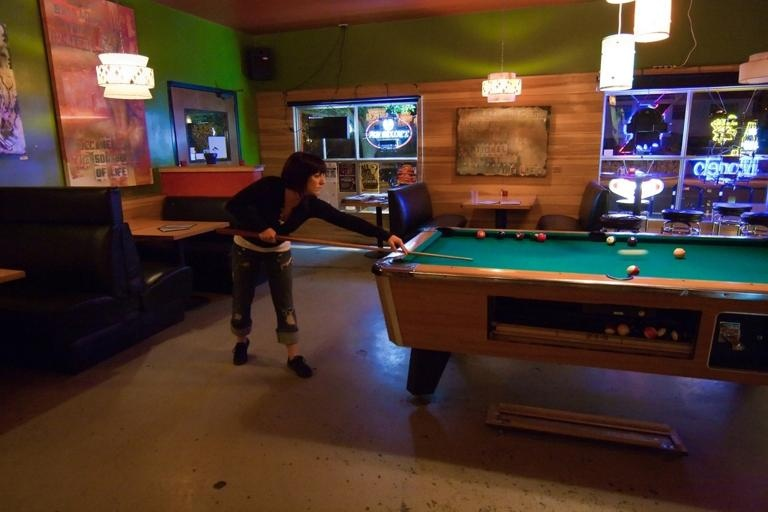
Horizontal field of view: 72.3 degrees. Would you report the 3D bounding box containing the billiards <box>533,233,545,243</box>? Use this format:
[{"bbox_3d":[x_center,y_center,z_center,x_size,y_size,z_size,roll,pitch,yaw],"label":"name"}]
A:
[{"bbox_3d":[1.400,-0.161,4.700,0.090,0.079,0.046,3,-31,9],"label":"billiards"}]

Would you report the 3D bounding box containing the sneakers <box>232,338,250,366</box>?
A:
[{"bbox_3d":[-1.375,0.921,5.034,0.116,0.108,0.286,1,27,3],"label":"sneakers"}]

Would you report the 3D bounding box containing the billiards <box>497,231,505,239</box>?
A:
[{"bbox_3d":[1.072,-0.188,4.810,0.068,0.047,0.064,-10,20,-29],"label":"billiards"}]

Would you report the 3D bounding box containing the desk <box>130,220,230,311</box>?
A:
[{"bbox_3d":[-2.342,0.166,6.327,1.322,1.053,1.204,-3,17,-16],"label":"desk"}]

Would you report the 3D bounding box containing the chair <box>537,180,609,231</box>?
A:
[{"bbox_3d":[2.661,-0.577,7.452,0.792,0.911,1.016,1,25,24],"label":"chair"}]

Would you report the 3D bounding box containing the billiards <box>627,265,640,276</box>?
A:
[{"bbox_3d":[1.781,0.106,3.763,0.073,0.072,0.116,5,14,21],"label":"billiards"}]

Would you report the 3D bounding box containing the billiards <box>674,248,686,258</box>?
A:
[{"bbox_3d":[2.371,-0.025,4.226,0.094,0.057,0.091,-7,13,-28],"label":"billiards"}]

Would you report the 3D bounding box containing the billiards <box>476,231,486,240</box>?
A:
[{"bbox_3d":[0.894,-0.183,4.812,0.078,0.066,0.075,5,11,21],"label":"billiards"}]

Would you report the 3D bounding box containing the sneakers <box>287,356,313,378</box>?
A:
[{"bbox_3d":[-0.766,1.026,4.820,0.289,0.110,0.127,14,24,41],"label":"sneakers"}]

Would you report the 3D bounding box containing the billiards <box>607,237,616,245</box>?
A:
[{"bbox_3d":[1.965,-0.125,4.546,0.073,0.060,0.069,-8,7,-26],"label":"billiards"}]

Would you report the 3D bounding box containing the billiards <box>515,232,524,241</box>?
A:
[{"bbox_3d":[1.225,-0.169,4.752,0.075,0.061,0.070,-3,8,1],"label":"billiards"}]

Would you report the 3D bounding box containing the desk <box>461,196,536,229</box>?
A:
[{"bbox_3d":[1.780,-0.664,7.962,0.683,0.404,0.357,6,23,20],"label":"desk"}]

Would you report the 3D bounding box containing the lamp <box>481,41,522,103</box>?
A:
[{"bbox_3d":[1.569,-2.434,7.233,0.665,0.956,0.621,-1,11,0],"label":"lamp"}]

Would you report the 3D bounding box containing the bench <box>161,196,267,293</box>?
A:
[{"bbox_3d":[-2.239,-0.204,6.663,1.458,1.186,1.006,1,-4,-8],"label":"bench"}]

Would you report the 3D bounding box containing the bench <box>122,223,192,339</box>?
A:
[{"bbox_3d":[-2.393,0.246,5.529,0.264,1.096,0.737,4,14,15],"label":"bench"}]
